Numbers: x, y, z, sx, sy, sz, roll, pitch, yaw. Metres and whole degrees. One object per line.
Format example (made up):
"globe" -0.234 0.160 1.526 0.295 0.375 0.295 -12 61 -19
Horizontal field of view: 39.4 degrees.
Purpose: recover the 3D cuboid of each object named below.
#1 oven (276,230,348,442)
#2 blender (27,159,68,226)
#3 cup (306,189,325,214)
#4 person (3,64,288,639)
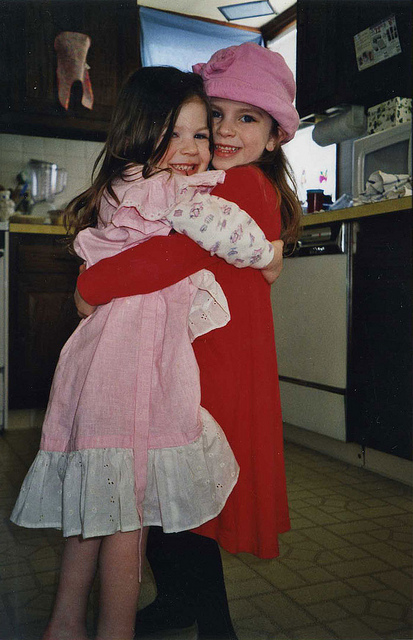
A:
"oven" 0.270 0.037 1.938 0.391 0.577 0.388 -1 -3 5
"blender" -0.873 -0.693 3.002 0.176 0.331 0.215 -24 52 -38
"cup" 0.371 -0.409 1.971 0.058 0.083 0.069 1 4 11
"person" -0.085 0.088 0.737 0.318 0.835 0.254 2 4 27
